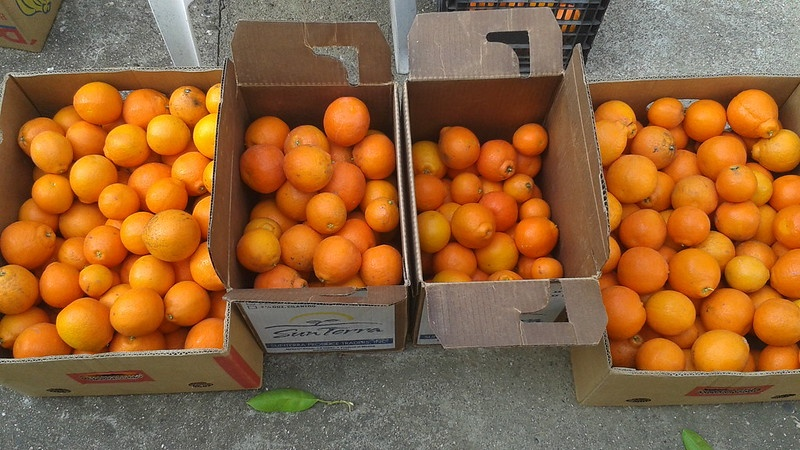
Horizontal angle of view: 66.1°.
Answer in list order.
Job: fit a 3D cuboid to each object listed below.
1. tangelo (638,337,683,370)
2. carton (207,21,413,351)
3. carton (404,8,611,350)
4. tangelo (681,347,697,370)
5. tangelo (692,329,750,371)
[{"bbox_3d":[1.268,0.641,2.986,0.203,0.213,0.206,-1,77,-3],"label":"tangelo"},{"bbox_3d":[-0.504,-0.174,3.298,0.983,1.005,1.613,-1,81,-6],"label":"carton"},{"bbox_3d":[0.490,-0.257,3.187,1.004,0.832,1.663,-3,89,1],"label":"carton"},{"bbox_3d":[1.400,0.648,2.984,0.086,0.083,0.083,-6,104,1],"label":"tangelo"},{"bbox_3d":[1.522,0.609,2.912,0.240,0.140,0.194,1,50,2],"label":"tangelo"}]
